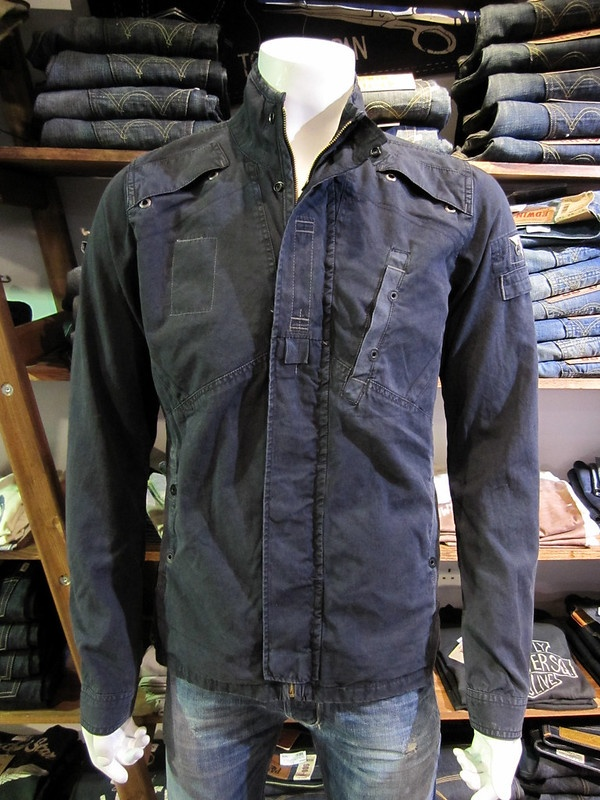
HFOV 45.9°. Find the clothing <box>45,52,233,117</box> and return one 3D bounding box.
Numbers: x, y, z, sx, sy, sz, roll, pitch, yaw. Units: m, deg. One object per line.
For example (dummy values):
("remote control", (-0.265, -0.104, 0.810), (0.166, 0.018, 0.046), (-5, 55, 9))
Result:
("clothing", (-0.359, -0.671, 1.500), (0.247, 0.064, 0.226), (1, 8, -1))

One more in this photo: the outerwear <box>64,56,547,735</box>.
("outerwear", (-0.013, 0.017, 1.048), (0.697, 0.964, 0.409), (-1, 18, 15))

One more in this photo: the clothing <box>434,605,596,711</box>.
("clothing", (0.568, 0.708, 1.850), (0.395, 0.084, 0.341), (2, 9, -7))
